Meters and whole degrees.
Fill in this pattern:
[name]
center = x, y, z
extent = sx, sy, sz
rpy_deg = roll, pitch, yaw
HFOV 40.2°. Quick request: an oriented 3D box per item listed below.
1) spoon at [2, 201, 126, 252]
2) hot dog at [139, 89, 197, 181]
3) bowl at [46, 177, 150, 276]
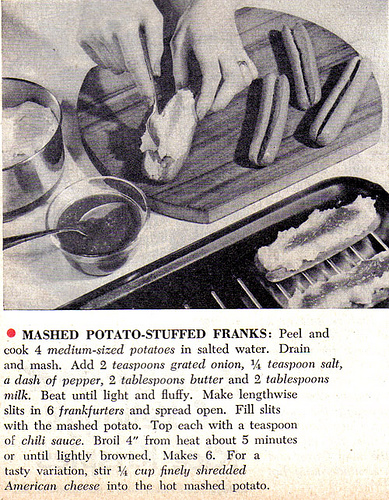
[spoon]
center = -0.195, -0.022, 0.782
extent = 0.193, 0.067, 0.058
rpy_deg = -7, 46, -5
[hot dog]
center = -0.037, -0.168, 0.810
extent = 0.081, 0.126, 0.045
rpy_deg = 24, 10, 23
[bowl]
center = -0.136, -0.040, 0.776
extent = 0.158, 0.086, 0.148
rpy_deg = 0, 67, 0
